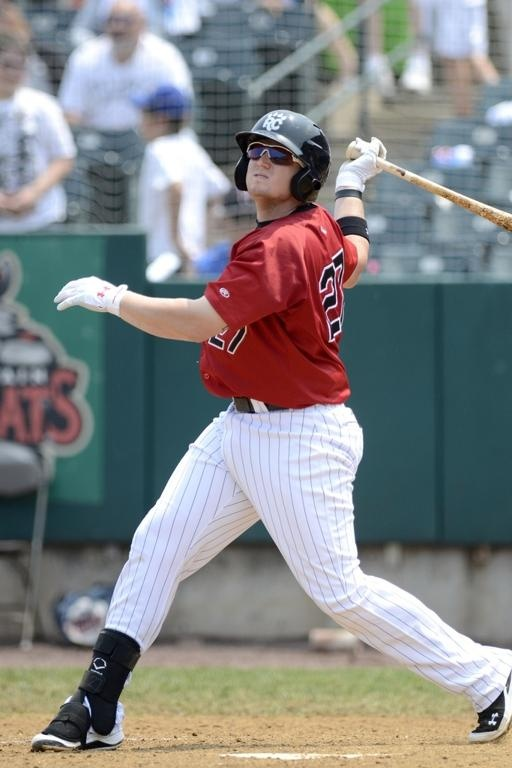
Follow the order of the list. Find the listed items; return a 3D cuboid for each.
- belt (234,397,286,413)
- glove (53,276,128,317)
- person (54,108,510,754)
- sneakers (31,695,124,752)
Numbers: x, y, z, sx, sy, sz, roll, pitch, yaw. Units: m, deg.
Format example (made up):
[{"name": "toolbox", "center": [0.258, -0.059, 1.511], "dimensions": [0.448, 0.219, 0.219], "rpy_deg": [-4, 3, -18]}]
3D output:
[{"name": "belt", "center": [-0.009, 0.065, 3.364], "dimensions": [0.068, 0.034, 0.085], "rpy_deg": [2, -12, 11]}, {"name": "glove", "center": [-0.454, -0.241, 3.289], "dimensions": [0.195, 0.118, 0.057], "rpy_deg": [8, -20, 12]}, {"name": "person", "center": [0.053, 0.129, 3.447], "dimensions": [1.187, 1.845, 0.675], "rpy_deg": [4, -6, -36]}, {"name": "sneakers", "center": [-0.499, 0.981, 3.405], "dimensions": [0.114, 0.130, 0.315], "rpy_deg": [-13, -17, 38]}]
